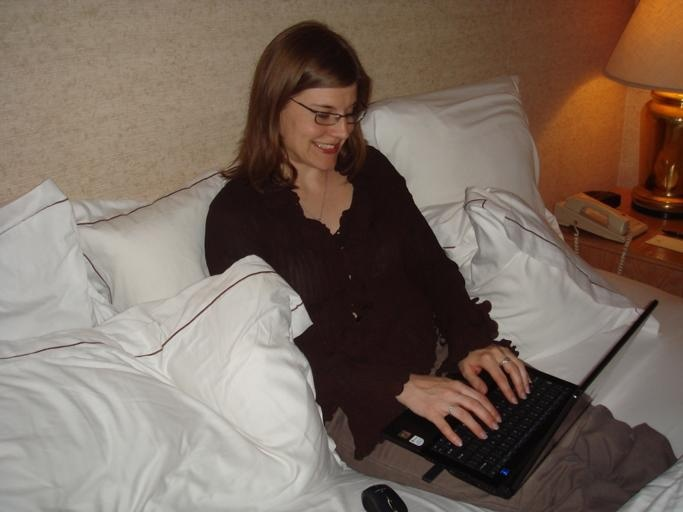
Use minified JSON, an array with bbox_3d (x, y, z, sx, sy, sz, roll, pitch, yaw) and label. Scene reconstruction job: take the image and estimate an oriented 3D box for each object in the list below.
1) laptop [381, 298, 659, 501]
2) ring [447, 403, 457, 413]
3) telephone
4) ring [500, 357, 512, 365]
[{"bbox_3d":[0.433,0.300,1.404,0.442,0.315,0.511,18,31,35],"label":"laptop"},{"bbox_3d":[0.285,0.395,1.438,0.017,0.005,0.018,-34,28,21],"label":"ring"},{"bbox_3d":[1.116,-0.185,2.413,0.215,0.128,0.291,-31,45,-32],"label":"telephone"},{"bbox_3d":[0.462,0.296,1.564,0.023,0.007,0.024,-51,6,7],"label":"ring"}]
